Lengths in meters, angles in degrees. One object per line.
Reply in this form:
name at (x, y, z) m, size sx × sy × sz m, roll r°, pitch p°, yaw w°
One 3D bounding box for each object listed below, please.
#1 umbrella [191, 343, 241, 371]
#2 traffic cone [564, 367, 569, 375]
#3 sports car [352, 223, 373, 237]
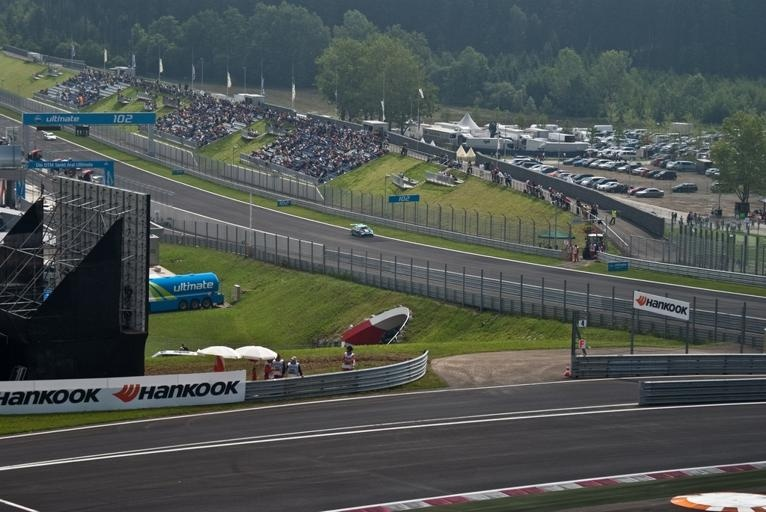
umbrella at (-18.188, 11.769, 183.966) m, size 3.327 × 1.756 × 3.293 m, roll 5°, pitch -1°, yaw 19°
traffic cone at (20.003, 12.679, 181.980) m, size 0.713 × 1.191 × 0.465 m, roll 0°, pitch 27°, yaw 4°
sports car at (-2.950, -3.234, 220.228) m, size 1.596 × 0.975 × 2.573 m, roll -6°, pitch 8°, yaw -41°
